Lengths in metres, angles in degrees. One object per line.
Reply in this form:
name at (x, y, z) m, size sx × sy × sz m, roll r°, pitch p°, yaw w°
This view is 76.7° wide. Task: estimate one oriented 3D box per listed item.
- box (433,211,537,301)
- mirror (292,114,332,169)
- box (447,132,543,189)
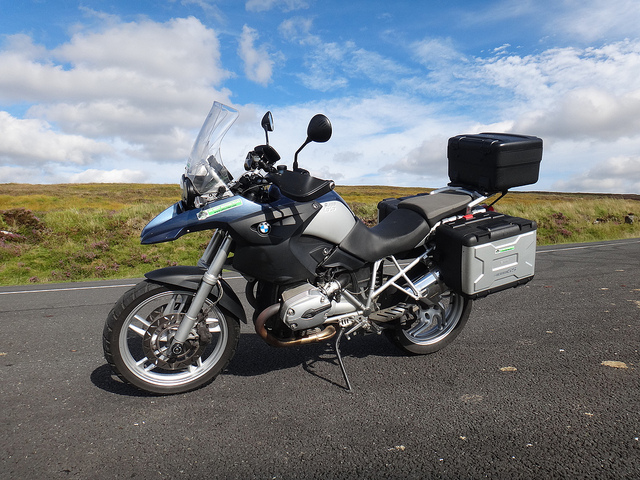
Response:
box at (1.852, 0.169, 4.613) m, size 1.137 × 0.732 × 0.608 m, roll -11°, pitch 17°, yaw -28°
mirror at (-0.066, -0.971, 3.867) m, size 0.331 × 0.438 × 0.486 m, roll -4°, pitch 11°, yaw -8°
box at (2.139, -0.978, 5.021) m, size 0.758 × 0.555 × 0.896 m, roll -14°, pitch 22°, yaw -23°
